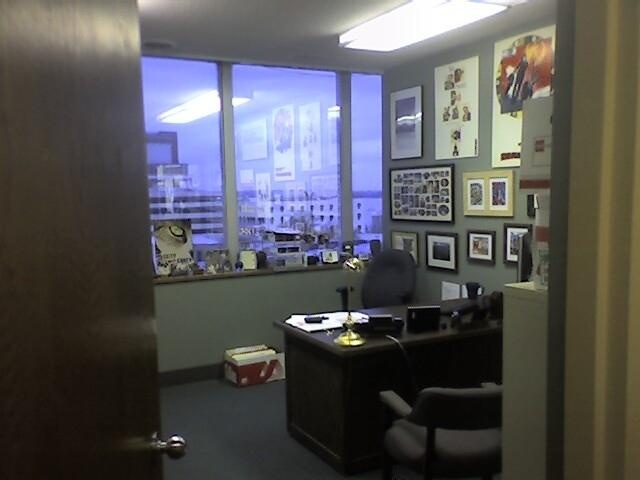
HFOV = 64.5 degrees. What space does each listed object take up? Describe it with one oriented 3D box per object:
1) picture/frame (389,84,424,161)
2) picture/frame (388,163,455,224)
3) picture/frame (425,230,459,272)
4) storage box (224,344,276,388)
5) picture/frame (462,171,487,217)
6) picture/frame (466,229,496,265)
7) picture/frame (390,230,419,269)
[{"bbox_3d":[0.864,-1.170,5.115,0.023,0.684,0.482,-6,8,-31],"label":"picture/frame"},{"bbox_3d":[1.019,-0.464,4.977,0.029,0.453,0.598,-2,3,-35],"label":"picture/frame"},{"bbox_3d":[1.169,0.097,4.823,0.029,0.381,0.357,-2,5,-33],"label":"picture/frame"},{"bbox_3d":[-0.634,1.149,4.688,0.481,0.258,0.360,-5,7,-22],"label":"storage box"},{"bbox_3d":[1.364,-0.414,4.455,0.045,0.503,0.354,-2,5,-26],"label":"picture/frame"},{"bbox_3d":[1.409,0.050,4.439,0.027,0.278,0.308,-6,7,-29],"label":"picture/frame"},{"bbox_3d":[0.853,0.095,5.060,0.036,0.334,0.337,-3,8,-31],"label":"picture/frame"}]
